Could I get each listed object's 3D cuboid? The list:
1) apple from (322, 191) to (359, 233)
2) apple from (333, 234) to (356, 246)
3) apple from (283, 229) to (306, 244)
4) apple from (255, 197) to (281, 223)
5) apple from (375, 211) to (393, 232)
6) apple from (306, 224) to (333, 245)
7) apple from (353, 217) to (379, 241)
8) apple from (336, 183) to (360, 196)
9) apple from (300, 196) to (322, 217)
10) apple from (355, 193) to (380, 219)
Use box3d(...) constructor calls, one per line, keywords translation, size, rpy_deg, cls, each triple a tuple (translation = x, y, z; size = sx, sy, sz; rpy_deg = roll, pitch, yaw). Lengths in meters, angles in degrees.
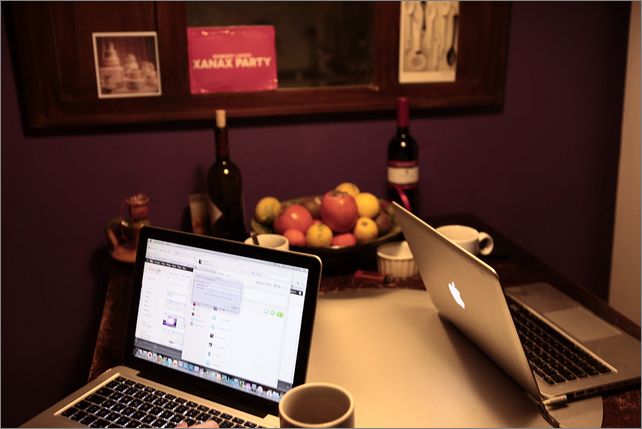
box3d(translation=(0.056, -0.007, 1.596), size=(0.114, 0.125, 0.109), rpy_deg=(-22, 33, -27), cls="apple")
box3d(translation=(0.069, 0.080, 1.539), size=(0.045, 0.048, 0.044), rpy_deg=(2, -2, -36), cls="apple")
box3d(translation=(-0.085, 0.071, 1.537), size=(0.045, 0.061, 0.049), rpy_deg=(-11, 34, 11), cls="apple")
box3d(translation=(-0.177, -0.009, 1.686), size=(0.075, 0.099, 0.077), rpy_deg=(12, 2, -17), cls="apple")
box3d(translation=(0.198, 0.026, 1.596), size=(0.053, 0.060, 0.071), rpy_deg=(2, 39, -1), cls="apple")
box3d(translation=(-0.011, 0.076, 1.570), size=(0.062, 0.063, 0.062), rpy_deg=(16, 24, -39), cls="apple")
box3d(translation=(0.135, 0.049, 1.550), size=(0.060, 0.069, 0.065), rpy_deg=(2, 35, 12), cls="apple")
box3d(translation=(0.090, -0.077, 1.712), size=(0.057, 0.063, 0.060), rpy_deg=(1, 1, 11), cls="apple")
box3d(translation=(-0.034, -0.033, 1.672), size=(0.060, 0.068, 0.064), rpy_deg=(3, 19, 21), cls="apple")
box3d(translation=(0.148, -0.028, 1.594), size=(0.067, 0.077, 0.084), rpy_deg=(-16, 35, 0), cls="apple")
